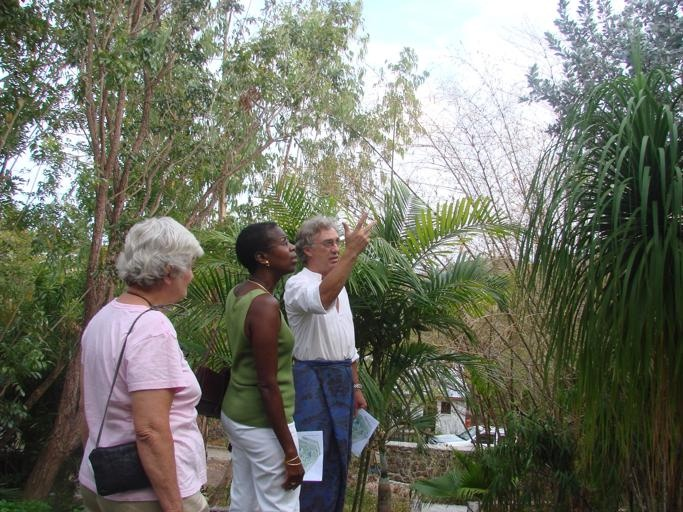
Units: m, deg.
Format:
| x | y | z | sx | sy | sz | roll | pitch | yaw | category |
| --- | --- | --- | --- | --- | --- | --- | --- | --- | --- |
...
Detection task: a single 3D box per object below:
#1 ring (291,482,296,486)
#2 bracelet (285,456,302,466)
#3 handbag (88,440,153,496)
| x | y | z | sx | sy | sz | roll | pitch | yaw | category |
| --- | --- | --- | --- | --- | --- | --- | --- | --- | --- |
| -0.216 | 1.007 | 2.251 | 0.013 | 0.004 | 0.014 | -1 | -11 | 19 | ring |
| -0.203 | 0.906 | 2.240 | 0.035 | 0.051 | 0.036 | 10 | 18 | -24 | bracelet |
| -0.762 | 0.729 | 1.775 | 0.161 | 0.191 | 0.053 | -6 | 0 | -6 | handbag |
